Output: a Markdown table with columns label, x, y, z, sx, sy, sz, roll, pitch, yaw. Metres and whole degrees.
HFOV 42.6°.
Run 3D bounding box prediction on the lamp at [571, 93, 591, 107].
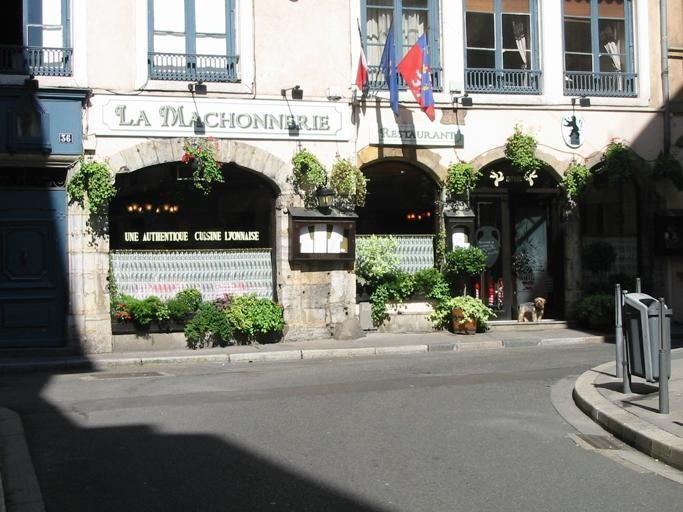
| label | x | y | z | sx | sy | sz | roll | pitch | yaw |
| --- | --- | --- | --- | --- | --- | --- | --- | --- | --- |
| lamp | 6.130 | -3.980 | 22.350 | 0.412 | 0.365 | 0.253 | -1 | 1 | 13 |

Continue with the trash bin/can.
| label | x | y | z | sx | sy | sz | roll | pitch | yaw |
| --- | --- | --- | --- | --- | --- | --- | --- | --- | --- |
| trash bin/can | 4.404 | 1.186 | 12.829 | 0.318 | 1.239 | 0.769 | -1 | 5 | -18 |

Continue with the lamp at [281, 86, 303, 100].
| label | x | y | z | sx | sy | sz | roll | pitch | yaw |
| --- | --- | --- | --- | --- | --- | --- | --- | --- | --- |
| lamp | -1.158 | -3.859 | 20.692 | 0.509 | 0.298 | 0.261 | 0 | 5 | -5 |

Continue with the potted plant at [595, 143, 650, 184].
| label | x | y | z | sx | sy | sz | roll | pitch | yaw |
| --- | --- | --- | --- | --- | --- | --- | --- | --- | --- |
| potted plant | 7.113 | -2.390 | 22.446 | 0.946 | 0.755 | 1.013 | 3 | 6 | 28 |

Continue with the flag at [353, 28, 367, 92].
| label | x | y | z | sx | sy | sz | roll | pitch | yaw |
| --- | --- | --- | --- | --- | --- | --- | --- | --- | --- |
| flag | 0.496 | -4.791 | 21.212 | 0.298 | 1.616 | 0.726 | 0 | 4 | 0 |

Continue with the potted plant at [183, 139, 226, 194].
| label | x | y | z | sx | sy | sz | roll | pitch | yaw |
| --- | --- | --- | --- | --- | --- | --- | --- | --- | --- |
| potted plant | -3.231 | -2.048 | 20.311 | 0.685 | 1.269 | 0.470 | 2 | 42 | -9 |

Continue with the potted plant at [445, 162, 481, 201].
| label | x | y | z | sx | sy | sz | roll | pitch | yaw |
| --- | --- | --- | --- | --- | --- | --- | --- | --- | --- |
| potted plant | 2.964 | -1.872 | 21.981 | 0.899 | 1.161 | 0.847 | 1 | 0 | -9 |

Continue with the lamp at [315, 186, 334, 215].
| label | x | y | z | sx | sy | sz | roll | pitch | yaw |
| --- | --- | --- | --- | --- | --- | --- | --- | --- | --- |
| lamp | -0.331 | -1.323 | 20.855 | 0.520 | 0.786 | 0.533 | 2 | -4 | -33 |

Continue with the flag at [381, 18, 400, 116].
| label | x | y | z | sx | sy | sz | roll | pitch | yaw |
| --- | --- | --- | --- | --- | --- | --- | --- | --- | --- |
| flag | 1.160 | -4.445 | 20.821 | 0.396 | 2.124 | 0.586 | 0 | 4 | 0 |

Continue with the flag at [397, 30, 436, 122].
| label | x | y | z | sx | sy | sz | roll | pitch | yaw |
| --- | --- | --- | --- | --- | --- | --- | --- | --- | --- |
| flag | 1.790 | -4.247 | 20.821 | 0.997 | 1.982 | 0.556 | -1 | 4 | -17 |

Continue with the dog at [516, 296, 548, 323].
| label | x | y | z | sx | sy | sz | roll | pitch | yaw |
| --- | --- | --- | --- | --- | --- | --- | --- | --- | --- |
| dog | 4.920 | 1.358 | 22.653 | 0.656 | 0.614 | 0.685 | 1 | 5 | 13 |

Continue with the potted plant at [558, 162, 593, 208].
| label | x | y | z | sx | sy | sz | roll | pitch | yaw |
| --- | --- | --- | --- | --- | --- | --- | --- | --- | --- |
| potted plant | 6.003 | -1.832 | 22.310 | 0.724 | 0.633 | 1.114 | 16 | -18 | -12 |

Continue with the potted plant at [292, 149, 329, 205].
| label | x | y | z | sx | sy | sz | roll | pitch | yaw |
| --- | --- | --- | --- | --- | --- | --- | --- | --- | --- |
| potted plant | -0.779 | -1.824 | 21.000 | 0.732 | 1.306 | 0.886 | -1 | -17 | -19 |

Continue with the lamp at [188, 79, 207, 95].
| label | x | y | z | sx | sy | sz | roll | pitch | yaw |
| --- | --- | --- | --- | --- | --- | --- | --- | --- | --- |
| lamp | -3.311 | -3.867 | 20.139 | 0.415 | 0.319 | 0.226 | 0 | 4 | 0 |

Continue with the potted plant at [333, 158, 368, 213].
| label | x | y | z | sx | sy | sz | roll | pitch | yaw |
| --- | --- | --- | --- | --- | --- | --- | --- | --- | --- |
| potted plant | 0.162 | -1.710 | 20.988 | 0.862 | 1.207 | 0.404 | -2 | 5 | -22 |
